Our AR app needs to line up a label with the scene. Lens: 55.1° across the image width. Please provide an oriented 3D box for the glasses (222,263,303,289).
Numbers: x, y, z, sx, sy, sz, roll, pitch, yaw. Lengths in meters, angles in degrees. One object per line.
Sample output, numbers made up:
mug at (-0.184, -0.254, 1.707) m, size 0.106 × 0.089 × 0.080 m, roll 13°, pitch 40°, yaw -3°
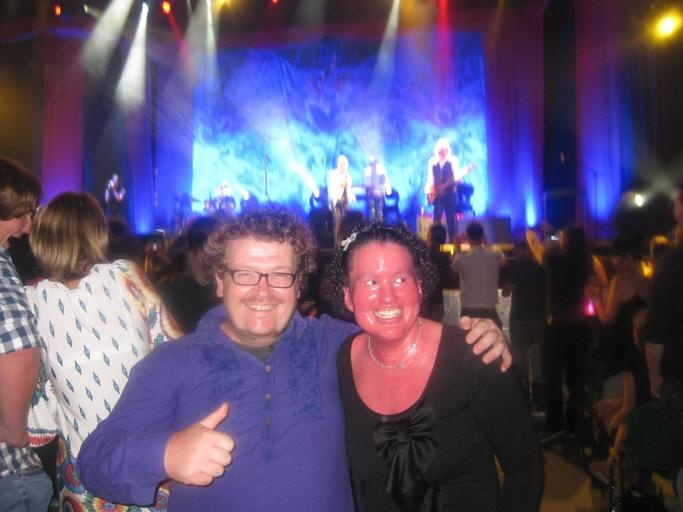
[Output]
glasses at (-0.642, 0.178, 5.180) m, size 0.545 × 0.147 × 0.069 m, roll 1°, pitch -3°, yaw -3°
